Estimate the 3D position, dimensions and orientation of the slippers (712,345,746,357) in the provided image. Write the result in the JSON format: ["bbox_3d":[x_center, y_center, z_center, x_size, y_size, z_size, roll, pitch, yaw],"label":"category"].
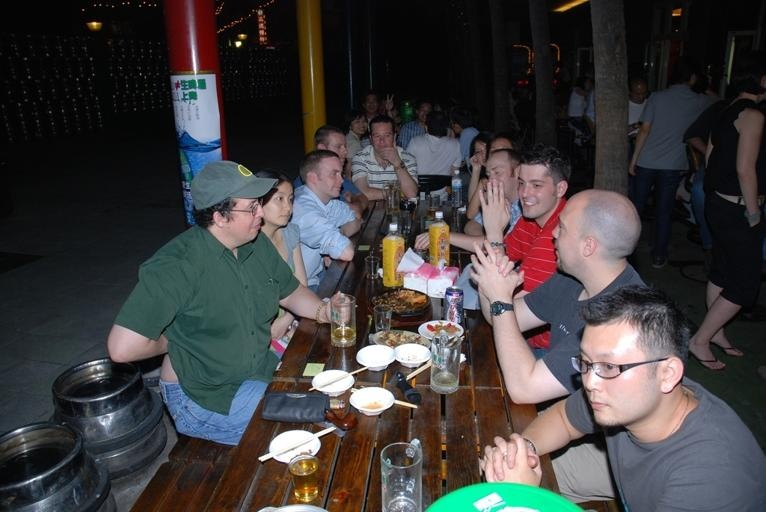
[{"bbox_3d":[3.013,0.808,4.246,0.079,0.049,0.194,-25,30,-23],"label":"slippers"}]

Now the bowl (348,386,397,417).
[{"bbox_3d":[-0.054,0.701,2.337,0.131,0.039,0.135,-2,21,1],"label":"bowl"}]

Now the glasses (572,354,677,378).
[{"bbox_3d":[0.932,0.431,1.870,0.310,0.084,0.082,1,22,15],"label":"glasses"}]

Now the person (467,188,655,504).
[{"bbox_3d":[0.991,0.698,2.791,1.098,2.041,0.817,-2,15,24],"label":"person"}]

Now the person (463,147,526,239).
[{"bbox_3d":[0.948,-0.548,4.109,0.298,0.781,0.496,12,11,38],"label":"person"}]

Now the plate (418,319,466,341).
[{"bbox_3d":[0.329,0.426,2.825,0.139,0.025,0.140,-5,20,-14],"label":"plate"}]

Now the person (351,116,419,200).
[{"bbox_3d":[-0.005,-1.062,5.784,0.718,1.207,0.921,3,21,1],"label":"person"}]

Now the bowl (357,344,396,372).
[{"bbox_3d":[-0.034,0.546,2.616,0.132,0.041,0.135,-3,31,2],"label":"bowl"}]

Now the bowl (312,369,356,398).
[{"bbox_3d":[-0.248,0.636,2.431,0.130,0.038,0.134,-3,21,1],"label":"bowl"}]

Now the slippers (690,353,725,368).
[{"bbox_3d":[2.748,0.895,4.082,0.091,0.027,0.218,-21,17,-21],"label":"slippers"}]

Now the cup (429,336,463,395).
[{"bbox_3d":[0.311,0.557,2.518,0.210,0.281,0.169,0,5,19],"label":"cup"}]

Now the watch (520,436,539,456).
[{"bbox_3d":[0.627,0.822,2.084,0.020,0.082,0.082,-39,4,4],"label":"watch"}]

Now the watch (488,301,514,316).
[{"bbox_3d":[0.619,0.276,2.560,0.105,0.068,0.113,4,-7,-5],"label":"watch"}]

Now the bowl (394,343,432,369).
[{"bbox_3d":[0.158,0.539,2.636,0.122,0.038,0.126,0,28,0],"label":"bowl"}]

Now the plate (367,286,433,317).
[{"bbox_3d":[0.099,0.228,3.126,0.464,0.155,0.373,-2,14,-21],"label":"plate"}]

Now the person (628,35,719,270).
[{"bbox_3d":[3.448,-1.126,6.018,0.772,2.403,0.799,16,15,27],"label":"person"}]
